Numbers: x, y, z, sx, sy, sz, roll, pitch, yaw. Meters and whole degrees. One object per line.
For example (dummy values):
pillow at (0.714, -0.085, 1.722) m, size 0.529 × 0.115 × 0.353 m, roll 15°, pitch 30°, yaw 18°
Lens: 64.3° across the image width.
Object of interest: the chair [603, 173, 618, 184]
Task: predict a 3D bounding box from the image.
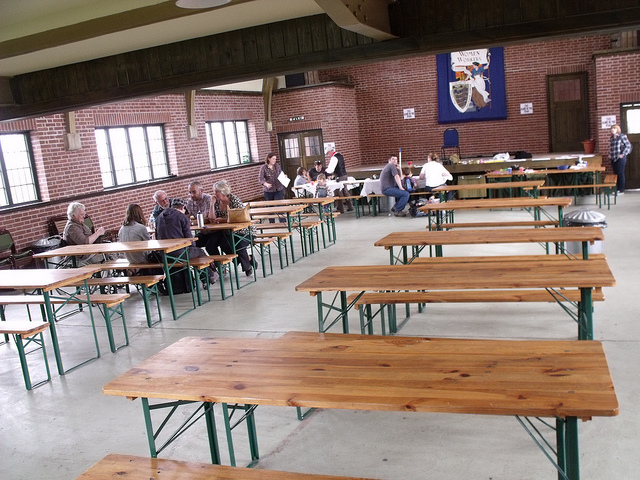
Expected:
chair at (7.012, -1.449, 12.224) m, size 0.254 × 0.152 × 0.765 m, roll 5°, pitch 19°, yaw 32°

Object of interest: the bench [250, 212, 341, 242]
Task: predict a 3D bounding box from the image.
bench at (-0.765, -0.174, 10.061) m, size 1.887 × 0.332 × 0.657 m, roll 1°, pitch 13°, yaw 12°

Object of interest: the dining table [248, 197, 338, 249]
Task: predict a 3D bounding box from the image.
dining table at (-0.166, -0.300, 11.416) m, size 1.018 × 0.648 × 1.619 m, roll 13°, pitch -16°, yaw -21°

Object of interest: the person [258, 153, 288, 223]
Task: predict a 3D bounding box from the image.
person at (-1.257, -1.589, 13.048) m, size 0.566 × 1.169 × 0.718 m, roll -8°, pitch 9°, yaw -3°

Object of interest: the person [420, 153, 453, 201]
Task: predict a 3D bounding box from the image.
person at (2.780, -1.600, 12.315) m, size 0.682 × 0.917 × 0.718 m, roll -4°, pitch 9°, yaw 14°

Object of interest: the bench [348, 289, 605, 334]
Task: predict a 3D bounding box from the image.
bench at (1.725, 0.846, 5.704) m, size 2.798 × 0.528 × 0.798 m, roll -7°, pitch 7°, yaw 42°

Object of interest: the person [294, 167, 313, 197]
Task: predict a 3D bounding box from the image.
person at (-0.492, -1.694, 13.884) m, size 0.442 × 0.513 × 1.028 m, roll -6°, pitch 7°, yaw 1°

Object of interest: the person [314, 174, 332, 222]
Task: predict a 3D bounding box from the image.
person at (0.077, -1.145, 12.784) m, size 0.433 × 0.936 × 0.895 m, roll -7°, pitch 8°, yaw 1°

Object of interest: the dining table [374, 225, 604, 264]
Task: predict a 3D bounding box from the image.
dining table at (2.066, 0.047, 6.207) m, size 2.464 × 0.280 × 1.145 m, roll -1°, pitch 7°, yaw 23°

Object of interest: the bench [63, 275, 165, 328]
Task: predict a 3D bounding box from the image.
bench at (-2.998, 0.836, 7.414) m, size 1.786 × 0.493 × 0.457 m, roll -1°, pitch 11°, yaw 28°

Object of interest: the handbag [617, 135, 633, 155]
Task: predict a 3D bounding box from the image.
handbag at (7.917, -2.355, 13.073) m, size 0.186 × 0.405 × 0.399 m, roll -10°, pitch 13°, yaw -43°

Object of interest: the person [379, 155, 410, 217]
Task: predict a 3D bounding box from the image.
person at (1.904, -1.327, 13.019) m, size 0.717 × 1.564 × 0.770 m, roll -6°, pitch 9°, yaw 6°

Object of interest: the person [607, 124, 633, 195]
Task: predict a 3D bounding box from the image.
person at (7.931, -2.091, 13.380) m, size 0.474 × 1.827 × 0.959 m, roll -2°, pitch 10°, yaw 29°

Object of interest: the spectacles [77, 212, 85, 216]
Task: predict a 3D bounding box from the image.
spectacles at (-3.881, -0.407, 8.215) m, size 0.112 × 0.044 × 0.134 m, roll -5°, pitch -5°, yaw -31°

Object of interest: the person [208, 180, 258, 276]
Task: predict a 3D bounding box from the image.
person at (-1.622, -0.168, 9.074) m, size 0.901 × 1.684 × 1.076 m, roll -8°, pitch 14°, yaw 9°

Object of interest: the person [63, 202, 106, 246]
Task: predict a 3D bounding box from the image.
person at (-3.850, -0.197, 8.400) m, size 0.744 × 0.716 × 0.590 m, roll 1°, pitch 18°, yaw -6°

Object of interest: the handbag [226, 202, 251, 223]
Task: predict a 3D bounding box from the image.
handbag at (-1.383, -0.435, 8.506) m, size 0.504 × 0.300 × 0.166 m, roll 1°, pitch 19°, yaw 3°

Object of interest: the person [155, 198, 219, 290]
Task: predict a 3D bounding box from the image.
person at (-2.187, 0.131, 7.988) m, size 0.694 × 1.526 × 1.243 m, roll -8°, pitch 9°, yaw -4°

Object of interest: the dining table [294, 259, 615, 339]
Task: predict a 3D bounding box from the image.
dining table at (1.313, 0.566, 4.927) m, size 2.722 × 0.572 × 1.024 m, roll -2°, pitch 8°, yaw 15°

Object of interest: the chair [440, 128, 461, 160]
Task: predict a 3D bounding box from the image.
chair at (4.485, -3.286, 17.407) m, size 0.644 × 1.016 × 0.328 m, roll -5°, pitch 10°, yaw 9°
